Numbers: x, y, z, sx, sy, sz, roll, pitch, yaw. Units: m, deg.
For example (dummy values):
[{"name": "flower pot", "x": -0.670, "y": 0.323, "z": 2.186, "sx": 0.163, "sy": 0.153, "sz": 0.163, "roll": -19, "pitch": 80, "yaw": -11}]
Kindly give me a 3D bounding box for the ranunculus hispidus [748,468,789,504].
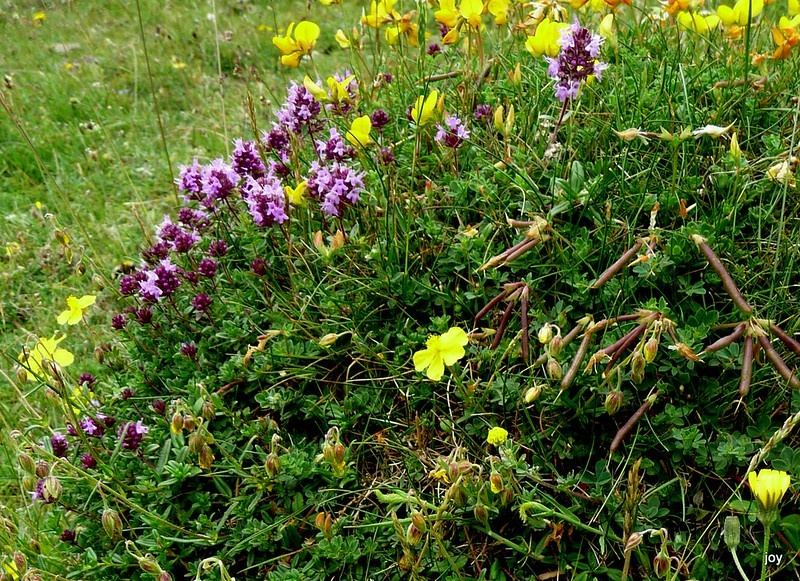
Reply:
[{"name": "ranunculus hispidus", "x": 0.991, "y": 0.518, "z": 2.058, "sx": 0.086, "sy": 0.089, "sz": 0.082, "roll": -21, "pitch": 39, "yaw": 4}]
